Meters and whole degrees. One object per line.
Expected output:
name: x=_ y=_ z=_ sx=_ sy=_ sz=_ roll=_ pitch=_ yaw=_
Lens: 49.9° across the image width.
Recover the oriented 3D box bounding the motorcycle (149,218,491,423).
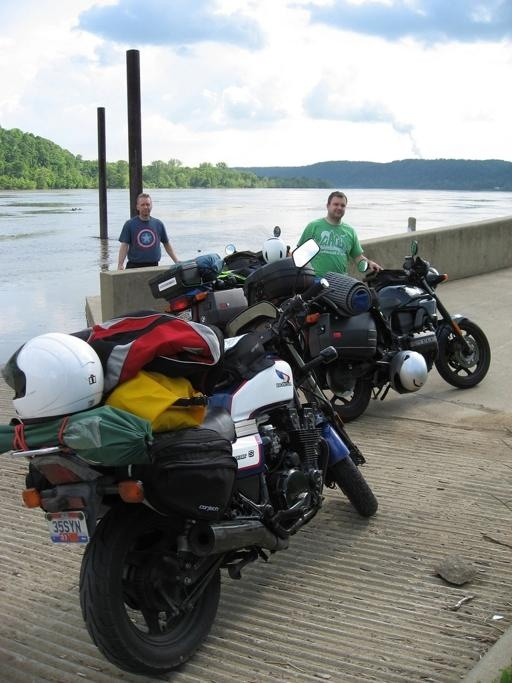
motorcycle: x=0.961 y=-0.260 z=5.570 sx=3.785 sy=1.510 sz=1.697 roll=-5 pitch=8 yaw=-32

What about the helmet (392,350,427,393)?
helmet: x=1.459 y=0.283 z=5.379 sx=0.465 sy=0.405 sz=0.340 roll=-1 pitch=2 yaw=-8

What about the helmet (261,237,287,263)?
helmet: x=0.172 y=-0.844 z=5.150 sx=0.260 sy=0.291 sz=0.296 roll=3 pitch=-2 yaw=-4

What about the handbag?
handbag: x=-0.223 y=0.473 z=1.972 sx=0.338 sy=0.285 sz=0.323 roll=-2 pitch=-8 yaw=-37

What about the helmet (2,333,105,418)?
helmet: x=-0.639 y=0.087 z=1.764 sx=0.321 sy=0.231 sz=0.239 roll=7 pitch=12 yaw=37

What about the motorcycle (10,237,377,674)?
motorcycle: x=-0.252 y=0.400 z=2.417 sx=0.686 sy=1.751 sz=1.773 roll=1 pitch=5 yaw=29
